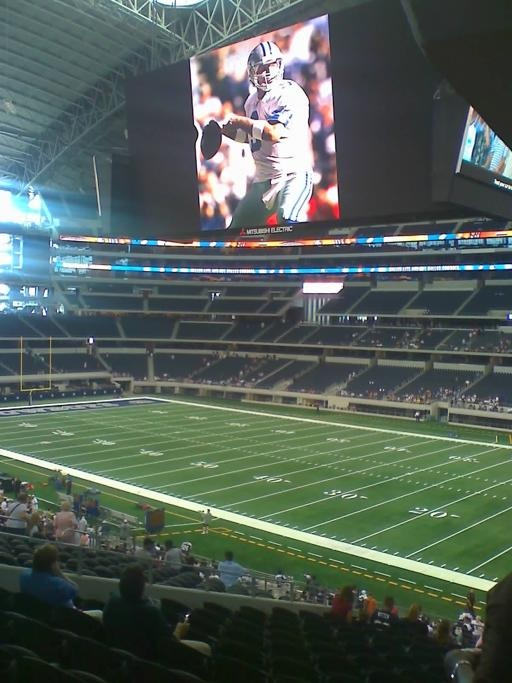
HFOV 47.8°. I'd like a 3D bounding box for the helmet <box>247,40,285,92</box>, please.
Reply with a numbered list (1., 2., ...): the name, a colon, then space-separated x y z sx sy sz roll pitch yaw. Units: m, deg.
1. helmet: 0.125 -3.506 7.555 0.498 0.591 0.524 -12 -19 -4
